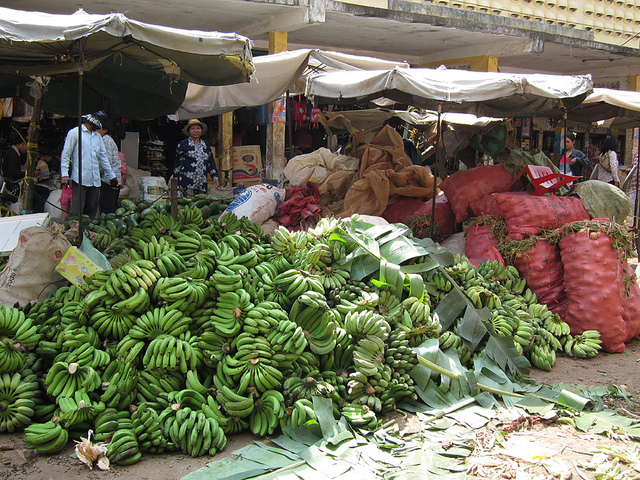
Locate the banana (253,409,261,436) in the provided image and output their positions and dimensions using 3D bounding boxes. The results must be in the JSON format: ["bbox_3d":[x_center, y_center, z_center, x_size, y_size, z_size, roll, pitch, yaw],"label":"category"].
[{"bbox_3d":[-0.480,1.407,3.656,0.047,0.177,0.063,14,-25,-21],"label":"banana"}]

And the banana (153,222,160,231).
[{"bbox_3d":[-1.487,-0.128,4.332,0.089,0.077,0.026,-1,-2,36],"label":"banana"}]

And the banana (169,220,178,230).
[{"bbox_3d":[-1.343,-0.146,4.371,0.024,0.064,0.057,25,-13,-21],"label":"banana"}]

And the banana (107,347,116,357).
[{"bbox_3d":[-1.607,0.867,3.669,0.025,0.085,0.021,-33,-16,-37],"label":"banana"}]

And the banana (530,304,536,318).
[{"bbox_3d":[2.362,0.786,5.265,0.030,0.110,0.087,7,-6,0],"label":"banana"}]

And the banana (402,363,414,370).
[{"bbox_3d":[0.764,1.078,4.069,0.055,0.068,0.120,0,-2,32],"label":"banana"}]

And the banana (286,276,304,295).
[{"bbox_3d":[-0.203,0.378,4.003,0.144,0.152,0.081,0,-1,-6],"label":"banana"}]

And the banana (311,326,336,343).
[{"bbox_3d":[0.036,0.783,3.937,0.187,0.064,0.031,-30,-59,22],"label":"banana"}]

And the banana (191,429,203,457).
[{"bbox_3d":[-0.869,1.461,3.449,0.042,0.196,0.065,25,-21,-20],"label":"banana"}]

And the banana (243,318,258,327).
[{"bbox_3d":[-0.552,0.647,3.756,0.137,0.041,0.050,24,3,21],"label":"banana"}]

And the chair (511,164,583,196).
[{"bbox_3d":[2.993,-0.799,6.273,0.638,0.472,0.468,0,-1,-4],"label":"chair"}]

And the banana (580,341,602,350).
[{"bbox_3d":[2.911,1.123,5.104,0.149,0.040,0.052,21,23,7],"label":"banana"}]

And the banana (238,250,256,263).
[{"bbox_3d":[-0.657,0.146,4.255,0.206,0.057,0.069,-28,22,-29],"label":"banana"}]

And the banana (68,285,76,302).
[{"bbox_3d":[-2.044,0.434,3.913,0.054,0.132,0.105,1,-1,-28],"label":"banana"}]

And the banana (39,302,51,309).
[{"bbox_3d":[-2.243,0.528,3.888,0.066,0.036,0.037,1,-2,-30],"label":"banana"}]

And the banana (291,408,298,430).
[{"bbox_3d":[-0.188,1.345,3.578,0.048,0.141,0.047,0,-7,9],"label":"banana"}]

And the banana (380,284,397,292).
[{"bbox_3d":[0.634,0.433,4.309,0.149,0.075,0.100,1,-2,-19],"label":"banana"}]

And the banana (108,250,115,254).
[{"bbox_3d":[-1.839,0.100,4.188,0.050,0.033,0.031,1,-1,-23],"label":"banana"}]

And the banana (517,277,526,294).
[{"bbox_3d":[2.337,0.520,5.481,0.058,0.197,0.060,44,-23,-25],"label":"banana"}]

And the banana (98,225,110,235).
[{"bbox_3d":[-2.069,-0.102,4.557,0.190,0.077,0.064,-1,-2,41],"label":"banana"}]

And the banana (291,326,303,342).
[{"bbox_3d":[-0.171,0.727,3.764,0.037,0.143,0.053,38,-34,-10],"label":"banana"}]

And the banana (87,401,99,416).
[{"bbox_3d":[-1.644,1.234,3.453,0.070,0.069,0.019,35,-1,12],"label":"banana"}]

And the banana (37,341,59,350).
[{"bbox_3d":[-2.131,0.814,3.709,0.168,0.049,0.049,8,13,1],"label":"banana"}]

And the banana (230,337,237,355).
[{"bbox_3d":[-0.683,0.830,3.770,0.031,0.148,0.038,13,-1,-4],"label":"banana"}]

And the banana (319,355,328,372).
[{"bbox_3d":[0.033,1.025,3.974,0.068,0.134,0.031,0,-1,1],"label":"banana"}]

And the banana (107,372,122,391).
[{"bbox_3d":[-1.523,1.042,3.538,0.036,0.147,0.038,39,-19,-17],"label":"banana"}]

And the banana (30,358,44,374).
[{"bbox_3d":[-2.202,0.983,3.701,0.025,0.074,0.075,25,42,32],"label":"banana"}]

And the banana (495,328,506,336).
[{"bbox_3d":[1.756,0.901,4.640,0.133,0.034,0.026,30,-12,4],"label":"banana"}]

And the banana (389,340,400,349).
[{"bbox_3d":[0.649,0.858,4.051,0.035,0.046,0.131,17,45,32],"label":"banana"}]

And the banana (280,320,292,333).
[{"bbox_3d":[-0.266,0.679,3.761,0.059,0.086,0.086,-1,-2,40],"label":"banana"}]

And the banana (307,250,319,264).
[{"bbox_3d":[-0.051,0.142,4.233,0.035,0.145,0.038,11,19,-20],"label":"banana"}]

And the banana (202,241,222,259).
[{"bbox_3d":[-0.940,0.060,4.196,0.057,0.161,0.138,-34,-20,-4],"label":"banana"}]

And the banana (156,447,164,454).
[{"bbox_3d":[-1.166,1.526,3.455,0.038,0.024,0.044,-10,0,8],"label":"banana"}]

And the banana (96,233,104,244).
[{"bbox_3d":[-2.029,-0.025,4.387,0.050,0.078,0.021,30,-4,13],"label":"banana"}]

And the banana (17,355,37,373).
[{"bbox_3d":[-2.259,0.955,3.653,0.035,0.032,0.135,-44,9,36],"label":"banana"}]

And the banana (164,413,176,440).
[{"bbox_3d":[-1.112,1.362,3.486,0.062,0.183,0.044,8,-30,7],"label":"banana"}]

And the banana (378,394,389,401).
[{"bbox_3d":[0.523,1.284,3.882,0.106,0.054,0.033,2,-2,-41],"label":"banana"}]

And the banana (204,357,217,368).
[{"bbox_3d":[-0.857,0.961,3.720,0.042,0.053,0.139,-10,-45,22],"label":"banana"}]

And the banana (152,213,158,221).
[{"bbox_3d":[-1.527,-0.217,4.419,0.019,0.083,0.024,-29,-1,-5],"label":"banana"}]

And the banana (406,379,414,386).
[{"bbox_3d":[0.770,1.205,4.037,0.042,0.029,0.052,-11,-12,31],"label":"banana"}]

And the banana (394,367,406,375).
[{"bbox_3d":[0.678,1.099,4.018,0.053,0.032,0.101,-6,-2,-2],"label":"banana"}]

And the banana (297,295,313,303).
[{"bbox_3d":[-0.128,0.476,3.892,0.136,0.062,0.055,-1,-2,43],"label":"banana"}]

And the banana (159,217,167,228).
[{"bbox_3d":[-1.426,-0.167,4.359,0.030,0.134,0.036,-33,-12,-16],"label":"banana"}]

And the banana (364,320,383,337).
[{"bbox_3d":[0.458,0.722,3.980,0.216,0.055,0.077,-42,10,3],"label":"banana"}]

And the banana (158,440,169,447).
[{"bbox_3d":[-1.126,1.469,3.446,0.061,0.030,0.093,7,-24,-31],"label":"banana"}]

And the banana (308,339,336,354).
[{"bbox_3d":[0.018,0.869,3.915,0.145,0.087,0.025,3,-31,3],"label":"banana"}]

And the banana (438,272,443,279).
[{"bbox_3d":[1.229,0.359,4.823,0.014,0.065,0.018,-3,-8,-2],"label":"banana"}]

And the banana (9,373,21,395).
[{"bbox_3d":[-2.253,1.064,3.530,0.045,0.146,0.055,24,-27,-20],"label":"banana"}]

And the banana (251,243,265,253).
[{"bbox_3d":[-0.581,0.069,4.455,0.124,0.040,0.065,35,21,26],"label":"banana"}]

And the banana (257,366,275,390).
[{"bbox_3d":[-0.411,1.061,3.636,0.129,0.175,0.059,1,-1,-14],"label":"banana"}]
